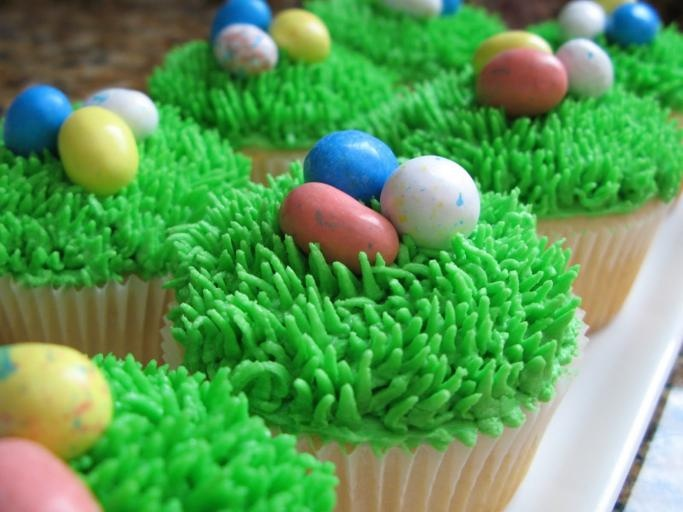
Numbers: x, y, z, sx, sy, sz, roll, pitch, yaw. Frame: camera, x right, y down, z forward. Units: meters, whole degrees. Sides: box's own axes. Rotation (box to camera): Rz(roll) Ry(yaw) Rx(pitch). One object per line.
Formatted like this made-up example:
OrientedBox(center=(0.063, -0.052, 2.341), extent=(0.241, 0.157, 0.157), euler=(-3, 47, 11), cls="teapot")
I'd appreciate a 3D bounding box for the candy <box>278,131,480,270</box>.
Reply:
OrientedBox(center=(0.064, -0.081, 1.087), extent=(0.295, 0.171, 0.197), euler=(21, 29, 9), cls="candy")
